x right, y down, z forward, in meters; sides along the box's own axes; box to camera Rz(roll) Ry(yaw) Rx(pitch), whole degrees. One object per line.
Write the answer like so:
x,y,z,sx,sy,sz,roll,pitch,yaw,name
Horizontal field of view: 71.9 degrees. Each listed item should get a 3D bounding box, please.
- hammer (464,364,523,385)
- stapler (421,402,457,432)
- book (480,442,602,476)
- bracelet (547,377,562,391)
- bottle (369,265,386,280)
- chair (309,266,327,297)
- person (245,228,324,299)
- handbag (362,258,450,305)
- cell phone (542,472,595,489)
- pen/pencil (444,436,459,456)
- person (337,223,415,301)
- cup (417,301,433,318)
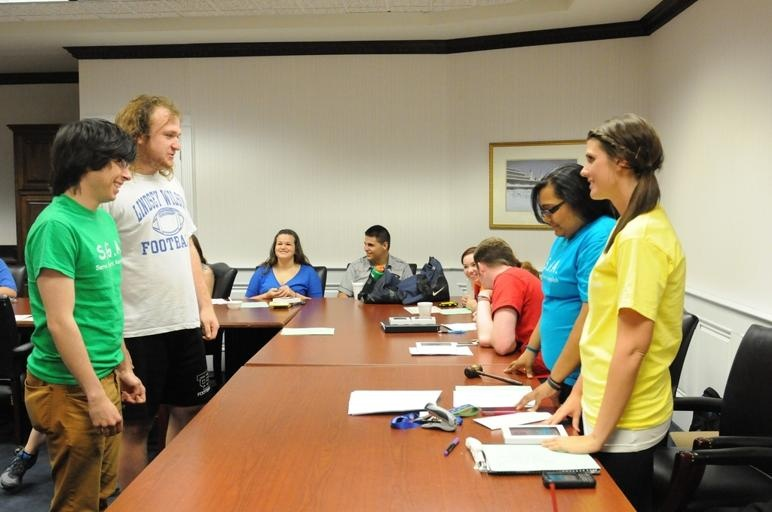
0.542,0.602,2.667,0.220,0.050,0.055,6,6,37,hammer
0.223,0.651,2.148,0.117,0.036,0.088,6,29,25,stapler
0.545,0.739,1.919,0.418,0.038,0.153,0,10,7,book
0.727,0.558,2.323,0.058,0.050,0.065,4,7,-1,bracelet
-0.077,0.153,5.015,0.071,0.095,0.216,11,12,-9,bottle
-0.647,0.240,5.442,0.231,0.330,0.249,-1,-11,0,chair
-0.986,0.134,5.157,0.782,0.723,0.532,1,-2,0,person
0.165,0.243,4.621,0.572,0.271,0.437,-1,0,2,handbag
0.624,0.767,1.813,0.147,0.033,0.078,-1,4,1,cell phone
0.254,0.718,2.017,0.023,0.030,0.122,1,8,23,pen/pencil
-0.056,0.118,5.340,0.853,0.851,0.416,5,14,17,person
0.275,0.383,3.751,0.099,0.112,0.106,-1,-4,0,cup
